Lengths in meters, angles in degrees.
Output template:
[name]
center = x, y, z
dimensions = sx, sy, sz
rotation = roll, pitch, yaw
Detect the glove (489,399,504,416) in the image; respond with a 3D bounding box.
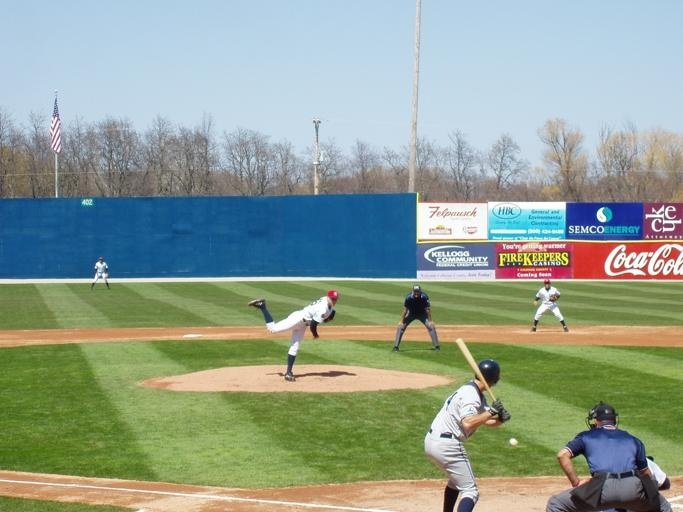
[glove]
center = 3.654, 3.561, 28.879
dimensions = 0.372, 0.462, 0.238
rotation = 1, 15, 5

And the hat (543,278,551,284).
[hat]
center = 8.631, 1.032, 51.929
dimensions = 0.298, 0.312, 0.309
rotation = -2, 0, -15

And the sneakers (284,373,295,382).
[sneakers]
center = -1.512, 3.604, 36.750
dimensions = 0.183, 0.132, 0.314
rotation = 16, 14, -14
